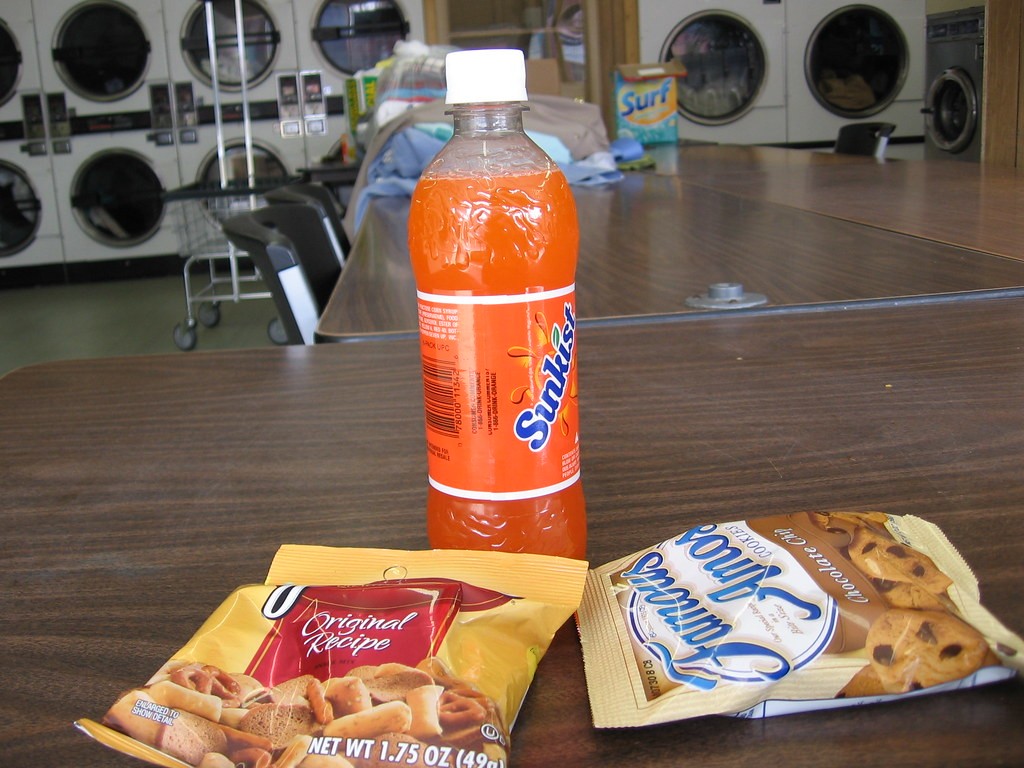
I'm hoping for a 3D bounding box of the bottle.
[{"bbox_3d":[-0.022,-0.029,0.469,0.119,0.286,0.110,-1,6,0],"label":"bottle"}]

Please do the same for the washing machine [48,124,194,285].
[{"bbox_3d":[-2.895,-1.338,6.012,1.412,1.245,0.987,-5,14,-13],"label":"washing machine"}]
